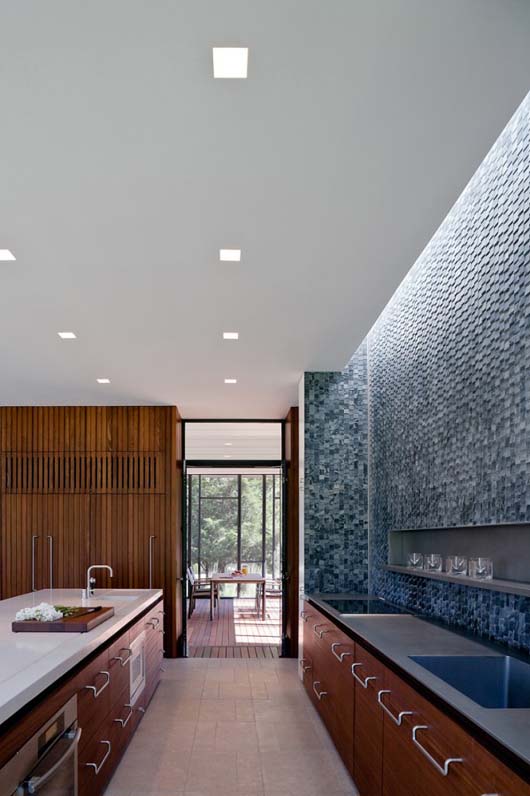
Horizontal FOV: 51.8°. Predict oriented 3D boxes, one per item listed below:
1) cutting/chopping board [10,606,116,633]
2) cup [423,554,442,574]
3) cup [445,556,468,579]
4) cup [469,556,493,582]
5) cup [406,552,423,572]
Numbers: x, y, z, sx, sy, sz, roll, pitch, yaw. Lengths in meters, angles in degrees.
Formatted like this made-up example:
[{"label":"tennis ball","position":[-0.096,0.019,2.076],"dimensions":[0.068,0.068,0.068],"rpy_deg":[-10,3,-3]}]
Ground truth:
[{"label":"cutting/chopping board","position":[-1.081,1.184,2.955],"dimensions":[0.384,0.123,0.594],"rpy_deg":[-1,-11,-3]},{"label":"cup","position":[0.974,0.948,3.154],"dimensions":[0.082,0.112,0.095],"rpy_deg":[-2,-5,15]},{"label":"cup","position":[0.979,0.846,2.778],"dimensions":[0.084,0.115,0.098],"rpy_deg":[-2,-6,20]},{"label":"cup","position":[0.974,0.775,2.481],"dimensions":[0.084,0.114,0.100],"rpy_deg":[0,-14,1]},{"label":"cup","position":[0.930,1.021,3.399],"dimensions":[0.079,0.106,0.095],"rpy_deg":[1,-10,-3]}]
